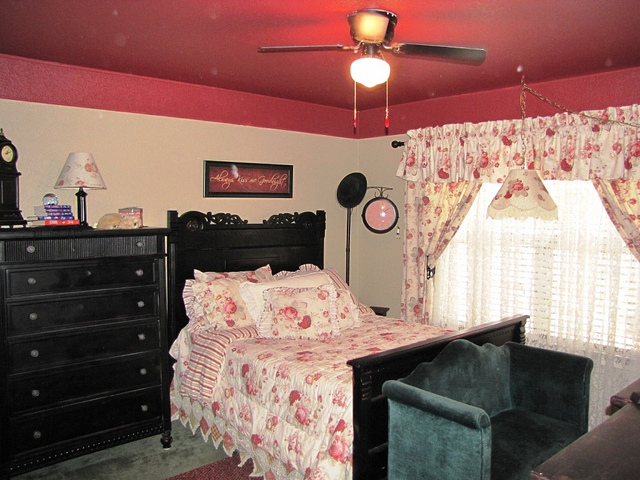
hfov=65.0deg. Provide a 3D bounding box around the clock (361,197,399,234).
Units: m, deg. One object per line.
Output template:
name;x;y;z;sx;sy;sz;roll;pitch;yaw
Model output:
clock;0.735;-0.299;5.957;0.341;0.344;0.046;-25;-8;35

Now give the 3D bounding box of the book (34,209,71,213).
book;-2.110;-0.236;3.971;0.242;0.026;0.075;-4;6;-29

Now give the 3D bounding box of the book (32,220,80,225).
book;-2.066;-0.144;3.952;0.314;0.045;0.069;-4;6;-31

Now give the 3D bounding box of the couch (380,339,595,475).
couch;1.189;1.079;3.393;1.447;0.712;0.771;-6;7;-44

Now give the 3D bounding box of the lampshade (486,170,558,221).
lampshade;1.411;-0.313;3.521;0.397;0.295;0.407;4;6;41

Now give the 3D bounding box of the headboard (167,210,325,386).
headboard;-0.658;0.473;5.013;1.656;1.837;0.075;0;-38;-10

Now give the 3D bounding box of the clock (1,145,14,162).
clock;-2.385;-0.665;3.840;0.013;0.128;0.079;3;6;36

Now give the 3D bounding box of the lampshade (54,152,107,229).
lampshade;-1.912;-0.416;4.090;0.347;0.621;0.408;-5;7;-40

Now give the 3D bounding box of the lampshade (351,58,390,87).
lampshade;0.321;-1.078;3.208;0.246;0.144;0.179;-3;5;-17

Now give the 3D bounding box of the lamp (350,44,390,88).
lamp;0.330;-1.130;3.261;0.235;0.253;0.237;2;2;-27

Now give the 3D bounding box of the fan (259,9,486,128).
fan;0.372;-1.246;3.237;1.305;0.471;0.358;-1;5;4
